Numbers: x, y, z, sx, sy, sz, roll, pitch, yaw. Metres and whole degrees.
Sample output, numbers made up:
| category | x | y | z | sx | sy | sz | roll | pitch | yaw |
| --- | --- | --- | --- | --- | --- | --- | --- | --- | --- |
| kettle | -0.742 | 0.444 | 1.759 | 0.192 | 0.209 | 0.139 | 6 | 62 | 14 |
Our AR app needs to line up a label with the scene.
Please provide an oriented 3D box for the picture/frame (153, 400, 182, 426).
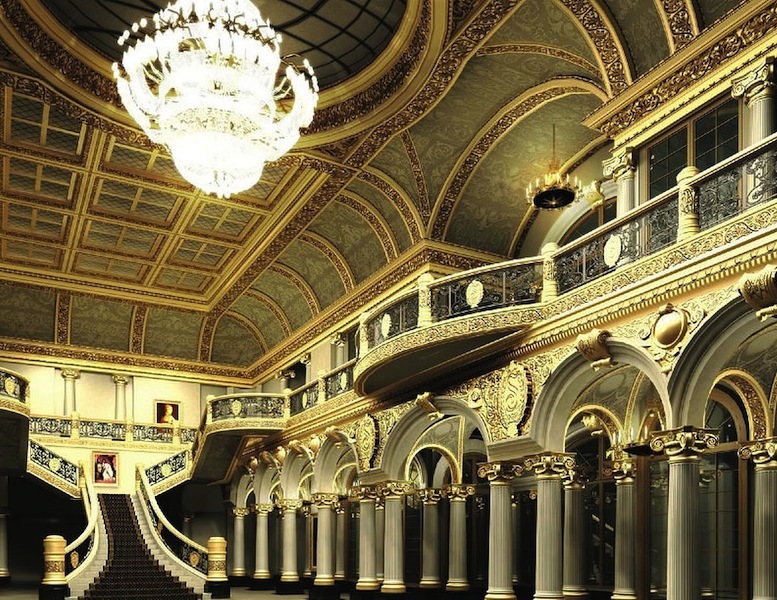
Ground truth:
| category | x | y | z | sx | sy | sz | roll | pitch | yaw |
| --- | --- | --- | --- | --- | --- | --- | --- | --- | --- |
| picture/frame | -6.573 | 3.352 | 31.398 | 0.740 | 0.631 | 0.075 | 13 | -37 | -33 |

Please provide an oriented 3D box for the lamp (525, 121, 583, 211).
| category | x | y | z | sx | sy | sz | roll | pitch | yaw |
| --- | --- | --- | --- | --- | --- | --- | --- | --- | --- |
| lamp | 3.394 | -2.753 | 21.474 | 1.344 | 2.188 | 1.318 | -2 | -38 | 10 |

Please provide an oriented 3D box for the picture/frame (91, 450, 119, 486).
| category | x | y | z | sx | sy | sz | roll | pitch | yaw |
| --- | --- | --- | --- | --- | --- | --- | --- | --- | --- |
| picture/frame | -7.767 | 4.592 | 28.979 | 0.872 | 1.103 | 0.147 | 13 | -36 | -38 |
